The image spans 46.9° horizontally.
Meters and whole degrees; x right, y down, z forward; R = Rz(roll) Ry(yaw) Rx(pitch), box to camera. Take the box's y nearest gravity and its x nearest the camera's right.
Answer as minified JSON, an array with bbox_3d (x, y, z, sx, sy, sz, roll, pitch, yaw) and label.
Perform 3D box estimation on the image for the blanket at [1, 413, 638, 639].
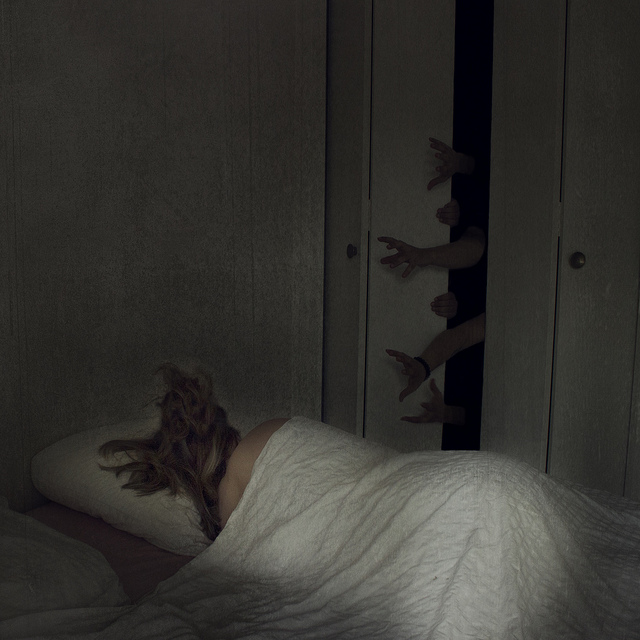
[{"bbox_3d":[0.018,0.179,0.608,0.516,0.171,0.206,0,2,-24],"label":"blanket"}]

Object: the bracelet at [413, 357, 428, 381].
[{"bbox_3d":[0.113,0.053,0.812,0.006,0.019,0.021,-23,-60,43],"label":"bracelet"}]
